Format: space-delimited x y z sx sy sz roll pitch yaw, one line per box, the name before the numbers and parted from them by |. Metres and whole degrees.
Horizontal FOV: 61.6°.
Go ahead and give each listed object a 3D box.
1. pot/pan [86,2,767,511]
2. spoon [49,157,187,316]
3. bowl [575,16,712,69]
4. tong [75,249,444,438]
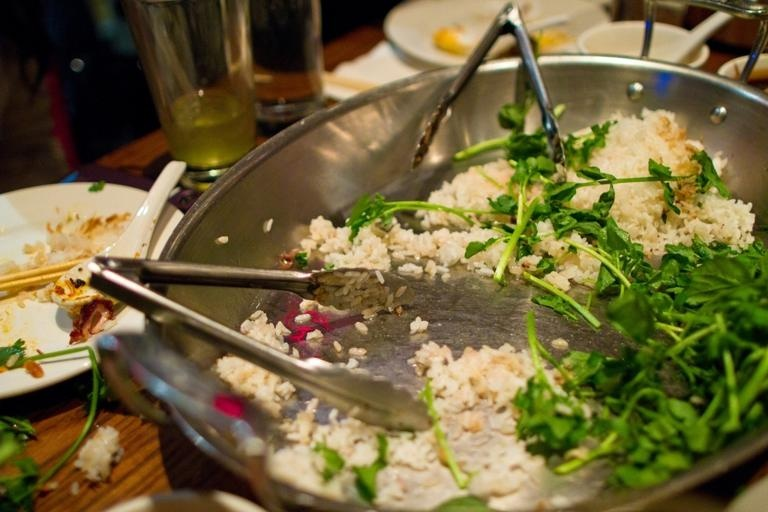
pot/pan | 0.073 -0.067 1.421 0.876 0.185 1.089 30 60 30
spoon | -0.498 -0.054 1.262 0.111 0.062 0.361 17 45 5
bowl | 0.583 -0.497 1.491 0.225 0.053 0.218 -1 33 1
tong | -0.185 0.121 0.990 0.524 0.090 0.266 15 37 -7
